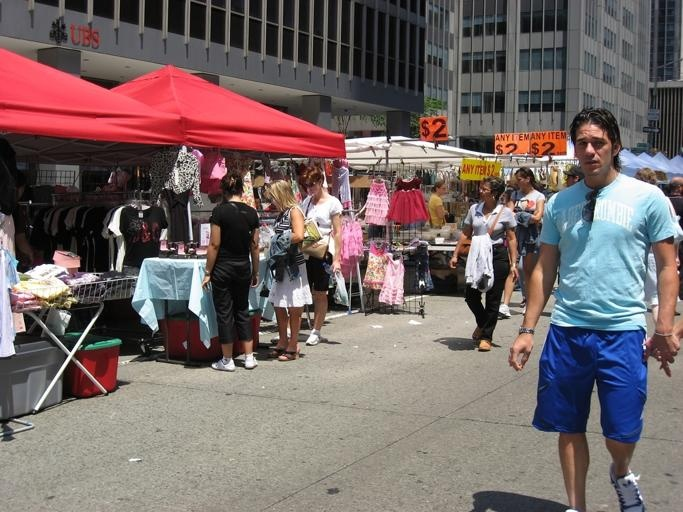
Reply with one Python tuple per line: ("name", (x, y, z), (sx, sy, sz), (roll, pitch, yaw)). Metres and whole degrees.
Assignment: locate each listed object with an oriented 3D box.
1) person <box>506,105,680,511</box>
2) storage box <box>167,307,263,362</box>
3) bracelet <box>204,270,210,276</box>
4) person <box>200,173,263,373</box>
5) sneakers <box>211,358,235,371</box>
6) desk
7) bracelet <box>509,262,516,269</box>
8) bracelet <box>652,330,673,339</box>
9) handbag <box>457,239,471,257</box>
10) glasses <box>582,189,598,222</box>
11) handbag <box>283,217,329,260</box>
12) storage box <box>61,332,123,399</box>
("person", (1.445, 0.354, 3.688), (0.855, 2.393, 0.398), (2, 5, 26))
("storage box", (-1.693, 0.965, 8.097), (0.617, 0.394, 0.847), (2, 4, 28))
("bracelet", (-1.492, 0.204, 7.311), (0.067, 0.047, 0.038), (9, 13, 44))
("person", (-1.260, 0.196, 7.527), (0.691, 2.290, 0.349), (-2, 5, -28))
("sneakers", (-1.377, 1.277, 7.572), (0.306, 0.136, 0.122), (6, 5, 36))
("desk", (-1.793, 0.431, 7.647), (1.043, 0.788, 1.489), (6, 8, 27))
("bracelet", (2.494, 0.156, 9.389), (0.083, 0.107, 0.040), (12, -5, -23))
("bracelet", (1.771, 0.433, 3.554), (0.099, 0.045, 0.080), (3, 5, 24))
("handbag", (1.777, -0.107, 9.281), (0.077, 0.206, 0.202), (24, -1, -2))
("glasses", (1.401, -0.281, 3.646), (0.078, 0.178, 0.037), (6, -12, 36))
("handbag", (-0.445, -0.195, 8.100), (0.487, 0.485, 0.211), (8, 44, 37))
("storage box", (-2.438, 1.087, 6.627), (0.559, 0.671, 0.605), (1, 4, -1))
